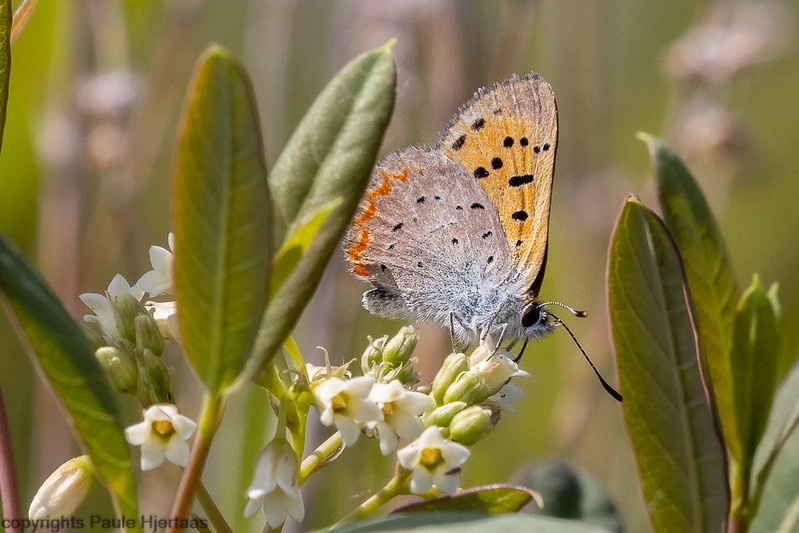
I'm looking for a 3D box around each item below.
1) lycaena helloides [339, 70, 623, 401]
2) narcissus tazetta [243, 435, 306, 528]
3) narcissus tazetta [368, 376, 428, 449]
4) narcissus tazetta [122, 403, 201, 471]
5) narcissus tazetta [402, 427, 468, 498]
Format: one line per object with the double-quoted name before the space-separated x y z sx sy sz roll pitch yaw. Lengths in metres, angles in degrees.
"lycaena helloides" 0.311 -0.248 4.221 1.059 1.058 1.090 10 10 -13
"narcissus tazetta" -0.359 0.619 3.016 0.159 0.256 0.156 2 -14 -7
"narcissus tazetta" -0.024 0.461 3.156 0.217 0.248 0.102 -7 6 36
"narcissus tazetta" -0.671 0.476 2.976 0.204 0.184 0.119 1 -14 -3
"narcissus tazetta" 0.098 0.585 3.134 0.204 0.190 0.174 1 -15 -1
